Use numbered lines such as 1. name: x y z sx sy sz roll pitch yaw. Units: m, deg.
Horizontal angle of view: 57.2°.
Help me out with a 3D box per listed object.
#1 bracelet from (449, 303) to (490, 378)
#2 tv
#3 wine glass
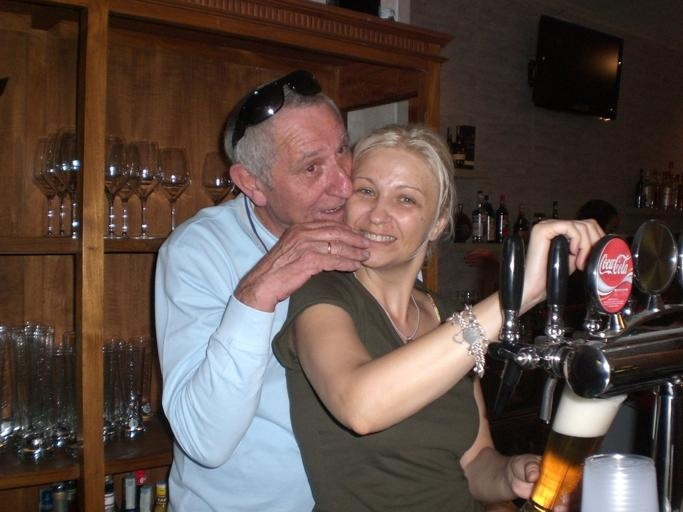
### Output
1. bracelet: 0.262 0.176 1.265 0.081 0.124 0.045 18 2 18
2. tv: 1.583 -1.248 4.228 0.979 0.690 0.161 -2 -1 -36
3. wine glass: -0.755 -0.226 1.993 0.421 0.279 0.122 1 3 -37
